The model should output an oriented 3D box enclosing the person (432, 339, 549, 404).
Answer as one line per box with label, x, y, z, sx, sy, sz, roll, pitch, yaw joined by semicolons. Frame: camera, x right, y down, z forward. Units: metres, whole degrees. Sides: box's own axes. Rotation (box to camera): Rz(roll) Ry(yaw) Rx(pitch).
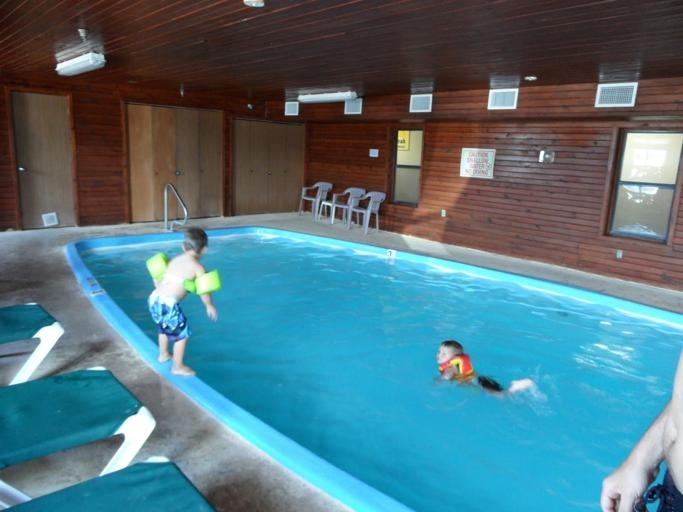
person;1.373;1.143;3.987;0.970;0.369;0.490;17;8;27
